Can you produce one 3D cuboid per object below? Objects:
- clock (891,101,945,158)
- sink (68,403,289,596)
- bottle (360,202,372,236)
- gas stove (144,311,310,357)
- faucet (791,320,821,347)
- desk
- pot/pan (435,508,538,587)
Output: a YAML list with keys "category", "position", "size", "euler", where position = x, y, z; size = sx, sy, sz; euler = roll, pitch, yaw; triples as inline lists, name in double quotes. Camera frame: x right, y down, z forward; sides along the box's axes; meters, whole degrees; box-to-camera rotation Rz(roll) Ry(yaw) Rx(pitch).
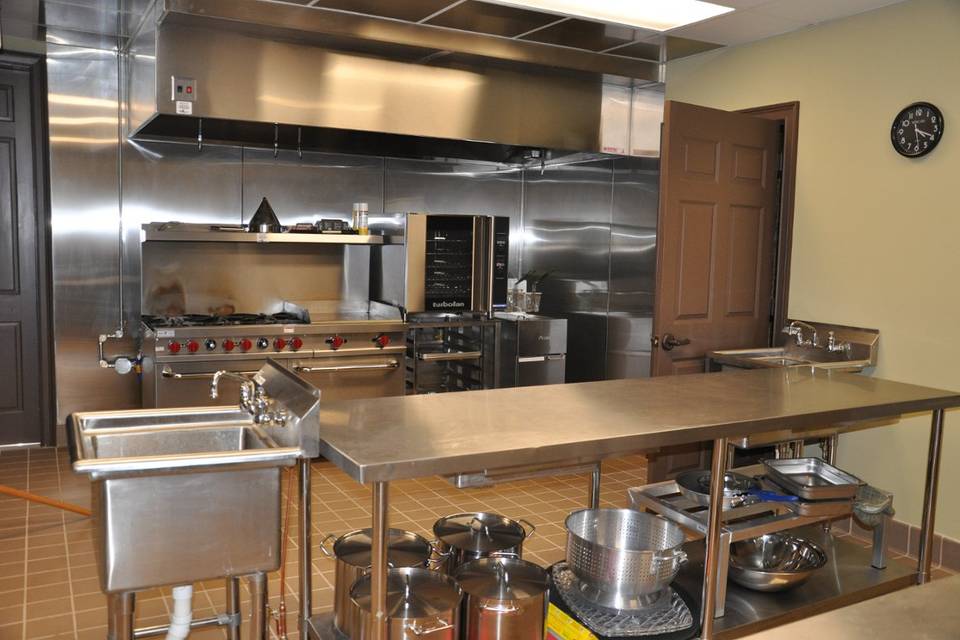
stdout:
- category: "clock"
  position: [2.685, -1.163, 4.370]
  size: [0.072, 0.338, 0.283]
  euler: [-8, 17, -31]
- category: "sink"
  position: [-1.102, 0.683, 2.693]
  size: [0.904, 0.451, 0.786]
  euler: [0, 6, -12]
- category: "bottle"
  position: [-0.940, -0.827, 5.771]
  size: [0.100, 0.233, 0.308]
  euler: [-1, 14, -9]
- category: "gas stove"
  position: [-1.848, 0.088, 5.324]
  size: [1.162, 0.233, 0.568]
  euler: [-4, 14, -20]
- category: "faucet"
  position: [2.246, 0.089, 4.909]
  size: [0.060, 0.140, 0.215]
  euler: [-11, 18, -39]
- category: "desk"
  position: [0.674, 0.814, 3.175]
  size: [2.674, 0.950, 0.832]
  euler: [-4, 15, -20]
- category: "pot/pan"
  position: [0.023, 0.930, 3.078]
  size: [0.278, 0.229, 0.378]
  euler: [-3, 8, -25]
